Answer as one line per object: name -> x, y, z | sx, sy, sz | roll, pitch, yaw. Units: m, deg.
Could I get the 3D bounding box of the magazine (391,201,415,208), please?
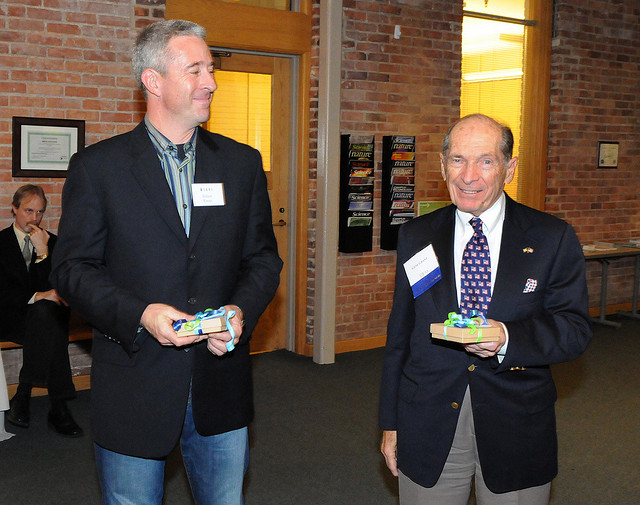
magazine -> 0.897, -0.540, 5.594 | 0.290, 0.078, 0.028 | -6, 12, -33

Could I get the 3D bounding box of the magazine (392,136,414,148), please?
magazine -> 0.889, -1.242, 5.519 | 0.272, 0.069, 0.030 | -6, 12, -30

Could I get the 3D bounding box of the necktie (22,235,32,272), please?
necktie -> -2.292, -0.004, 3.964 | 0.074, 0.261, 0.058 | 8, 13, 37

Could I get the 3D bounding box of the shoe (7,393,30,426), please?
shoe -> -2.275, 1.190, 3.819 | 0.152, 0.205, 0.215 | -7, 12, -33

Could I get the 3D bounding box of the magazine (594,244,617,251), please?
magazine -> 3.781, -0.070, 6.744 | 0.261, 0.049, 0.324 | 6, 12, 29

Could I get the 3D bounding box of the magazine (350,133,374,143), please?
magazine -> 0.421, -1.204, 5.310 | 0.299, 0.085, 0.059 | -8, 13, -38

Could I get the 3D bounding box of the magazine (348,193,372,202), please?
magazine -> 0.413, -0.594, 5.382 | 0.277, 0.088, 0.031 | -5, 11, -32

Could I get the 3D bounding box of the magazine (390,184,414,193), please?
magazine -> 0.888, -0.719, 5.586 | 0.314, 0.088, 0.020 | -6, 12, -32

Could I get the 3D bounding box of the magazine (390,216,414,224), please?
magazine -> 0.888, -0.371, 5.573 | 0.290, 0.082, 0.094 | -9, 14, -42

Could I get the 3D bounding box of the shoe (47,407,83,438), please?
shoe -> -1.893, 1.220, 3.778 | 0.362, 0.158, 0.133 | 18, 15, 42

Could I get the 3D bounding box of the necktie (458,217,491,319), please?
necktie -> 0.470, 0.041, 1.536 | 0.088, 0.288, 0.113 | 3, 11, 14
